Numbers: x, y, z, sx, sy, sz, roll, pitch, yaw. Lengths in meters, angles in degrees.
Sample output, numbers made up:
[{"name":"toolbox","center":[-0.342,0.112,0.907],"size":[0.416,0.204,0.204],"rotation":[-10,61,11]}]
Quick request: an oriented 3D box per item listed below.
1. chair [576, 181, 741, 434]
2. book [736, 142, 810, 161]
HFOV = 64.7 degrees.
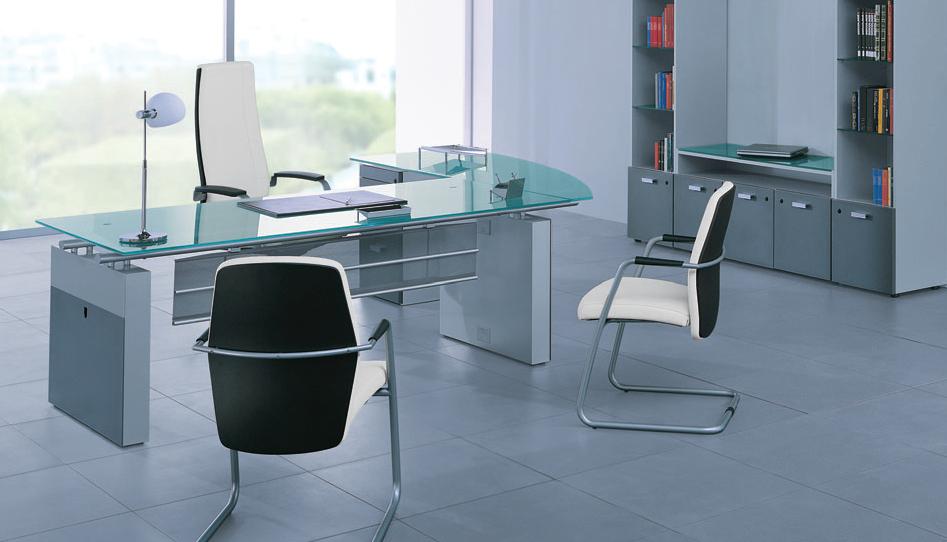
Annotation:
[{"name":"chair","center":[1.136,0.200,4.520],"size":[0.986,1.413,0.777],"rotation":[4,17,18]},{"name":"book","center":[2.812,-1.118,7.023],"size":[0.549,0.103,0.533],"rotation":[9,18,35]}]
